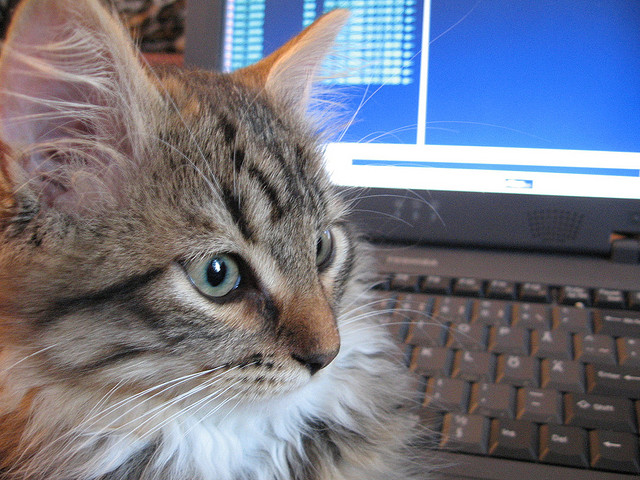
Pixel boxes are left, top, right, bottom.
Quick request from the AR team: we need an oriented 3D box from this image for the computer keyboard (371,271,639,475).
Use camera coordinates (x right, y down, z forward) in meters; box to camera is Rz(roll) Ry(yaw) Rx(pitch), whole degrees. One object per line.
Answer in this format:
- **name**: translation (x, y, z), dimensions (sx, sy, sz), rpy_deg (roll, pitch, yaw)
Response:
- **computer keyboard**: translation (0.409, 0.237, 1.226), dimensions (0.499, 0.086, 0.327), rpy_deg (-3, 51, 16)

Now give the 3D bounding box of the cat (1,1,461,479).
- **cat**: translation (-0.198, 0.019, 1.160), dimensions (0.782, 0.886, 0.512), rpy_deg (-4, 25, -8)
